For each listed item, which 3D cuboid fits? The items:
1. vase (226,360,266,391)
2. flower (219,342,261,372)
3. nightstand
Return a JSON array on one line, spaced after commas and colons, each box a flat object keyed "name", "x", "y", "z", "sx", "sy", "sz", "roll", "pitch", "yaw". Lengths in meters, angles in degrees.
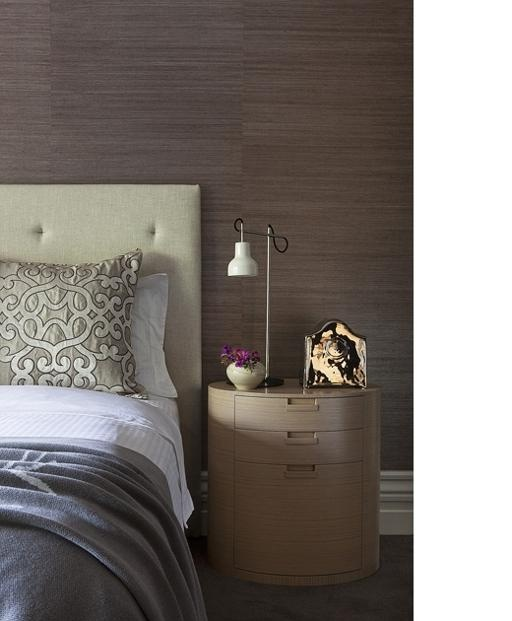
[{"name": "vase", "x": -0.027, "y": 0.190, "z": 1.913, "sx": 0.094, "sy": 0.054, "sz": 0.093, "roll": 4, "pitch": -3, "yaw": -43}, {"name": "flower", "x": -0.042, "y": 0.136, "z": 1.934, "sx": 0.094, "sy": 0.050, "sz": 0.089, "roll": 9, "pitch": 3, "yaw": 25}, {"name": "nightstand", "x": 0.094, "y": 0.504, "z": 1.987, "sx": 0.580, "sy": 0.535, "sz": 0.527, "roll": 0, "pitch": -7, "yaw": -2}]
